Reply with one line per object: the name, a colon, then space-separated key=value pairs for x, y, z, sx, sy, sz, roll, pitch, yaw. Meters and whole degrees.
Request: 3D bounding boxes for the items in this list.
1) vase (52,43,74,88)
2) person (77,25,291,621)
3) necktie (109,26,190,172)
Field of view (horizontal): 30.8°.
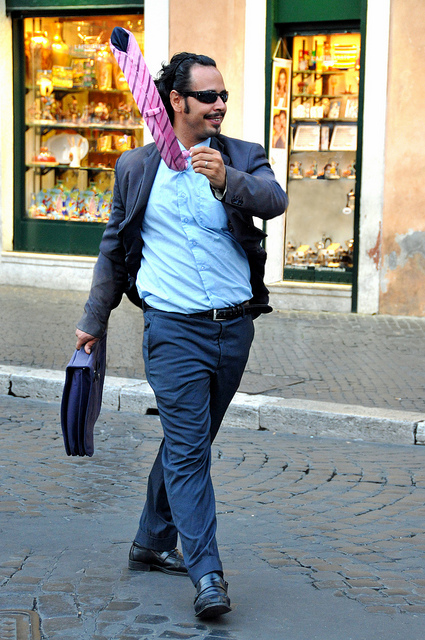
vase: x=-2.233 y=-3.800 z=11.496 sx=0.323 sy=0.609 sz=0.136 roll=2 pitch=4 yaw=11
person: x=-0.076 y=0.012 z=2.452 sx=0.642 sy=1.812 sz=0.728 roll=1 pitch=4 yaw=-15
necktie: x=-0.179 y=-0.634 z=2.260 sx=0.139 sy=0.554 sz=0.118 roll=-24 pitch=1 yaw=-20
